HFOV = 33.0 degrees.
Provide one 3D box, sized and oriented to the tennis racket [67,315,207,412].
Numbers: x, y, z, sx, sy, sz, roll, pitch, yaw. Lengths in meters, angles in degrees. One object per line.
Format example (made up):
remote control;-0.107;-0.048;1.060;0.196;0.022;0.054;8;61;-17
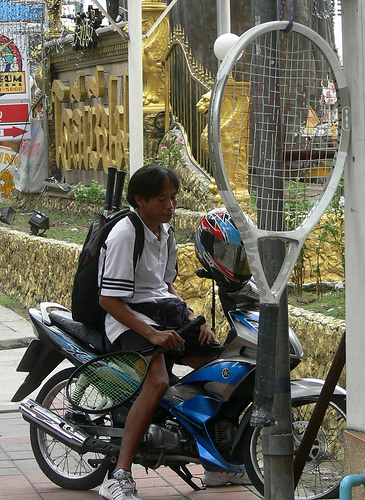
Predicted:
tennis racket;-0.245;0.560;2.861;0.783;0.314;0.056;-37;-18;12
